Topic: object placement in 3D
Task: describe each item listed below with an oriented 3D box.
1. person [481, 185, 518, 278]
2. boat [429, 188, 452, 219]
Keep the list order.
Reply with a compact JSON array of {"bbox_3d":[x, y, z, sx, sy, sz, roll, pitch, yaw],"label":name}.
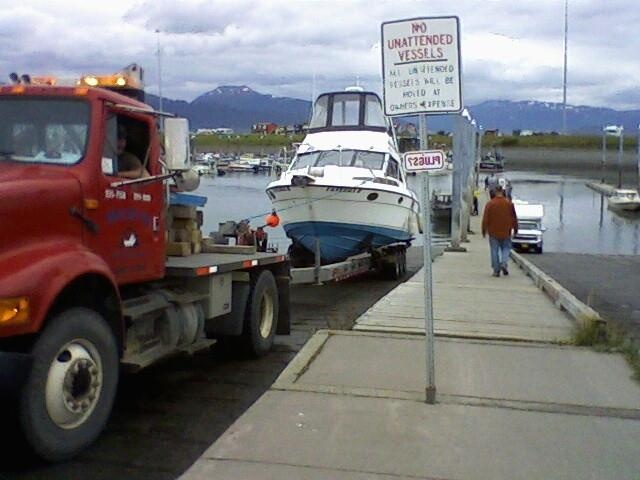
[{"bbox_3d":[3.982,-0.202,13.826,0.706,2.034,1.554,-1,7,15],"label":"person"},{"bbox_3d":[6.767,-2.009,35.213,0.816,1.401,3.865,-1,2,13],"label":"boat"}]
